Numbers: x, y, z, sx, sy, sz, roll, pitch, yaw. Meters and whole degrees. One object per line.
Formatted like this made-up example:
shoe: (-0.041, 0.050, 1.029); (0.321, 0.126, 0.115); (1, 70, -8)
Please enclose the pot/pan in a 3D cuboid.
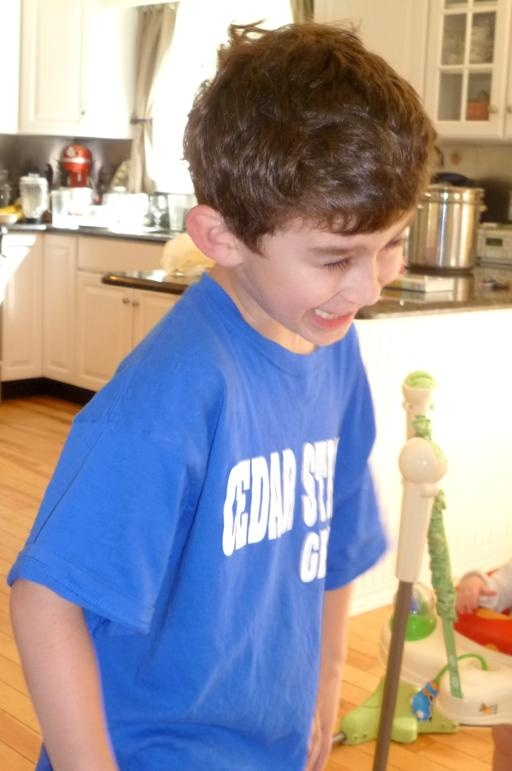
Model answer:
pot/pan: (0.820, -0.701, 2.820); (0.348, 0.369, 0.321); (-5, 18, -16)
